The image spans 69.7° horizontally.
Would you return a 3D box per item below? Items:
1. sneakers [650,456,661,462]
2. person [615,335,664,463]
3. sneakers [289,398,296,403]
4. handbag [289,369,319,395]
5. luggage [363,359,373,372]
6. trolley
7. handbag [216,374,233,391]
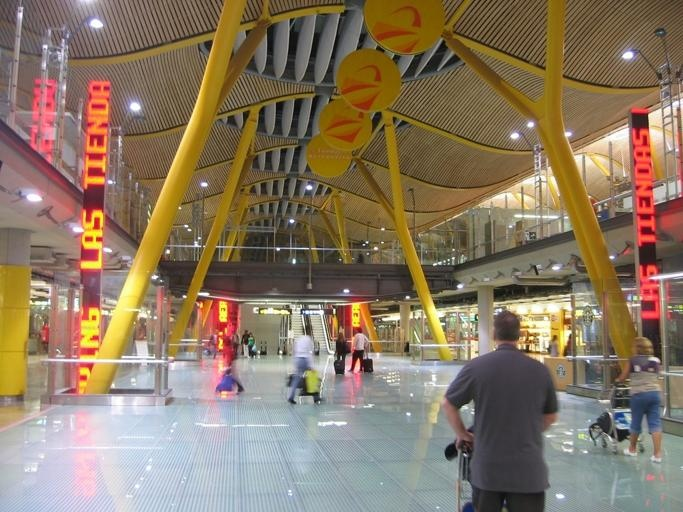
[{"bbox_3d":[4.793,3.097,7.493,0.066,0.090,0.190,-1,1,3],"label":"sneakers"},{"bbox_3d":[4.783,2.261,7.893,0.581,1.871,0.776,-4,-8,29],"label":"person"},{"bbox_3d":[-1.275,3.702,12.603,0.191,0.139,0.357,1,-8,-7],"label":"sneakers"},{"bbox_3d":[-0.999,3.397,13.169,0.727,0.773,1.275,1,-8,-8],"label":"handbag"},{"bbox_3d":[1.108,4.699,21.078,0.456,0.658,0.345,2,-2,3],"label":"luggage"},{"bbox_3d":[4.859,2.757,8.478,0.572,0.814,0.569,-5,-9,35],"label":"trolley"},{"bbox_3d":[-3.518,3.817,14.769,0.483,0.539,0.668,2,-8,-13],"label":"handbag"}]
